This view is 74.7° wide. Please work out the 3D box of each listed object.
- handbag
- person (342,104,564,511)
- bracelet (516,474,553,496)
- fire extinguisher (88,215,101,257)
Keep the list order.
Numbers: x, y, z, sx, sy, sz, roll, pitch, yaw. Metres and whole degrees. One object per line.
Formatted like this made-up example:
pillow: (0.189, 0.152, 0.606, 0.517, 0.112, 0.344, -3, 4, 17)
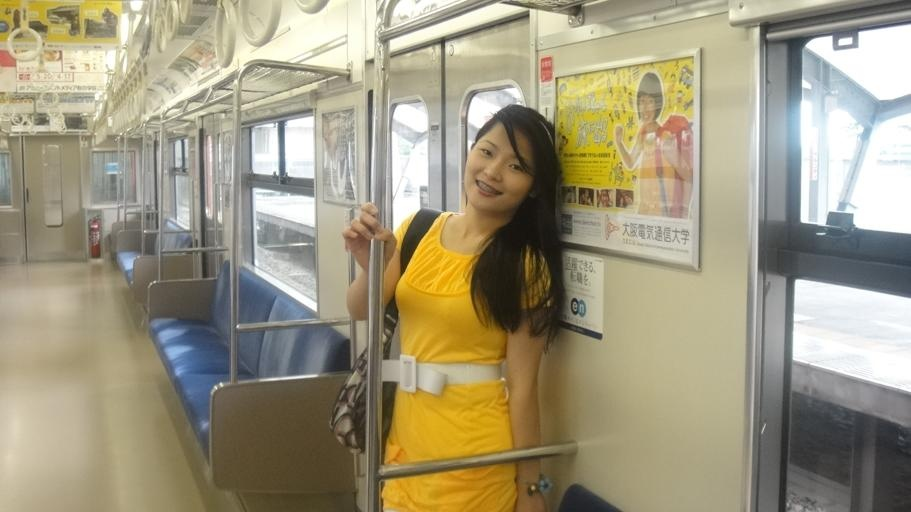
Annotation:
handbag: (-0.419, 0.601, 2.786, 0.213, 0.634, 0.375, 9, 9, -26)
person: (0.035, 0.245, 2.627, 0.947, 1.767, 0.580, -1, 11, -8)
bracelet: (0.363, 1.029, 2.671, 0.113, 0.058, 0.151, 1, -1, 5)
fire extinguisher: (-9.299, -0.457, 15.432, 0.327, 1.074, 0.240, -3, 11, -22)
